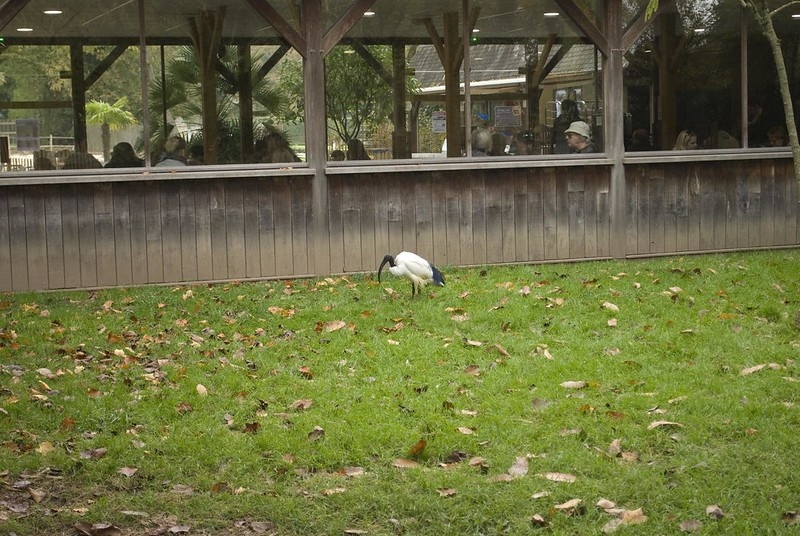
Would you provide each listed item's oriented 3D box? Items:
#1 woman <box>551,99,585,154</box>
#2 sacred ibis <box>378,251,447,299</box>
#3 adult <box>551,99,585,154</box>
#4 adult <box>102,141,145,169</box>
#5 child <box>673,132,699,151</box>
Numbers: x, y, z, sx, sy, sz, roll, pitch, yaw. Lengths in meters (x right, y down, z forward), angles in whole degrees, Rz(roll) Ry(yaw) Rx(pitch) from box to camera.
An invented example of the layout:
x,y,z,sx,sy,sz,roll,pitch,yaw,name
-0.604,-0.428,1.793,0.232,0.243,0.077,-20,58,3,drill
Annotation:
x,y,z,sx,sy,sz,roll,pitch,yaw,name
2.473,-2.179,17.721,0.379,0.328,1.134,-3,-40,-3,woman
0.168,0.092,15.573,0.839,0.754,0.431,-2,3,-15,sacred ibis
2.459,-2.171,17.731,0.391,0.321,1.145,-6,-35,-5,adult
-3.907,-1.609,16.527,0.523,0.366,0.074,-5,4,-6,adult
4.433,-1.985,18.153,0.270,0.370,0.286,8,21,11,child
